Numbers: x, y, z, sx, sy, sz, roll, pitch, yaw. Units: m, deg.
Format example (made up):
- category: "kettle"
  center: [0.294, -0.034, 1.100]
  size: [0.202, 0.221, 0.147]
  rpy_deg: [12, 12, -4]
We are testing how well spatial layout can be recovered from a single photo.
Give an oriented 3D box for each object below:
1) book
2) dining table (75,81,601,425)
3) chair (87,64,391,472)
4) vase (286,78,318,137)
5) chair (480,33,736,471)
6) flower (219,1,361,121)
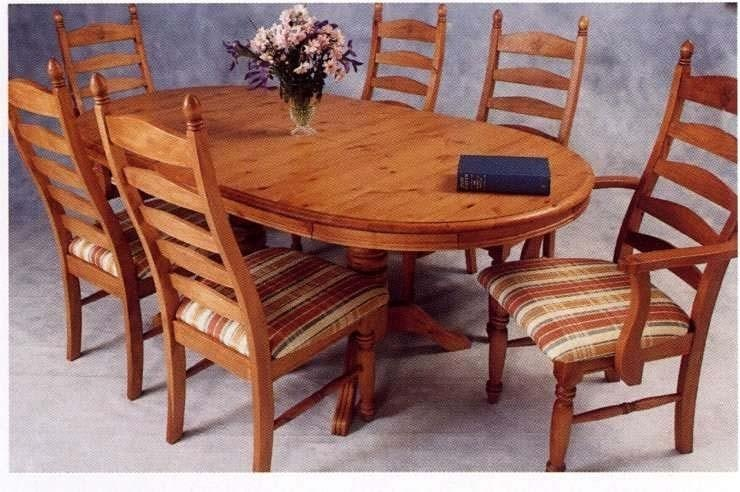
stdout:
- category: "book"
  center: [0.476, -0.263, 2.038]
  size: [0.315, 0.106, 0.264]
  rpy_deg: [3, 19, 8]
- category: "dining table"
  center: [-0.165, 0.070, 2.226]
  size: [1.672, 0.358, 0.844]
  rpy_deg: [15, 31, 34]
- category: "chair"
  center: [-0.396, 0.104, 2.042]
  size: [0.574, 1.400, 0.666]
  rpy_deg: [19, 30, 39]
- category: "vase"
  center: [-0.279, -0.589, 2.473]
  size: [0.170, 0.202, 0.141]
  rpy_deg: [0, 13, -5]
- category: "chair"
  center: [0.940, 0.029, 2.141]
  size: [0.935, 1.526, 0.671]
  rpy_deg: [-7, 24, -15]
- category: "flower"
  center: [-0.303, -0.823, 2.549]
  size: [0.671, 0.474, 0.598]
  rpy_deg: [3, 8, -9]
